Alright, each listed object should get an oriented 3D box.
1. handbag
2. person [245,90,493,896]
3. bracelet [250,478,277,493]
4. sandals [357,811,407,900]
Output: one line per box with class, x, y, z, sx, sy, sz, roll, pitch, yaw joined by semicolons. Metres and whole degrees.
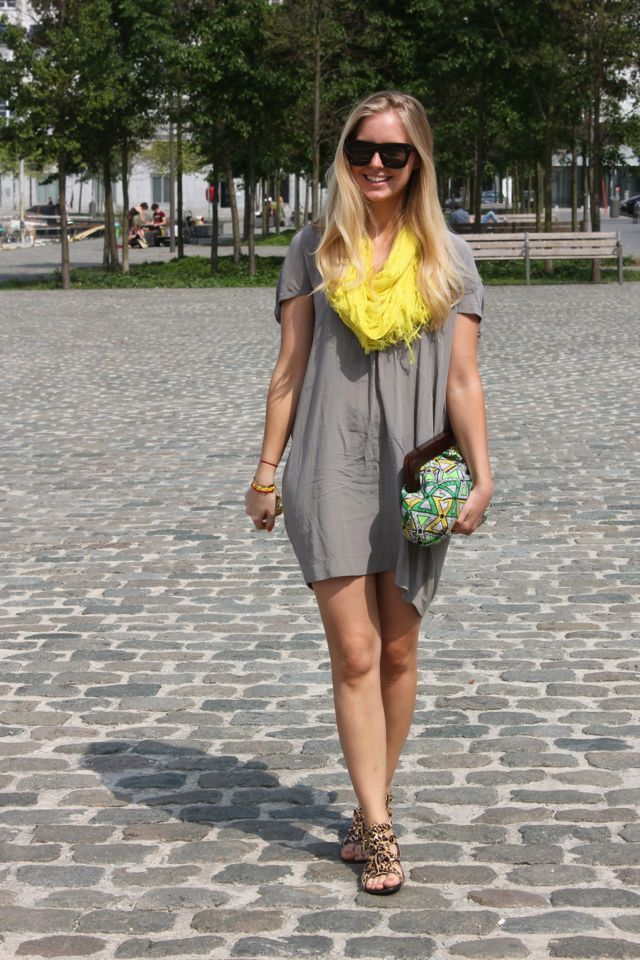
handbag;0.218;0.019;2.192;0.149;0.092;0.229;18;46;-6
person;0.098;0.016;2.295;0.499;1.646;0.358;0;8;-4
bracelet;-0.115;0.011;2.415;0.033;0.016;0.035;2;8;-29
sandals;0.132;0.779;2.242;0.067;0.070;0.181;1;10;1
